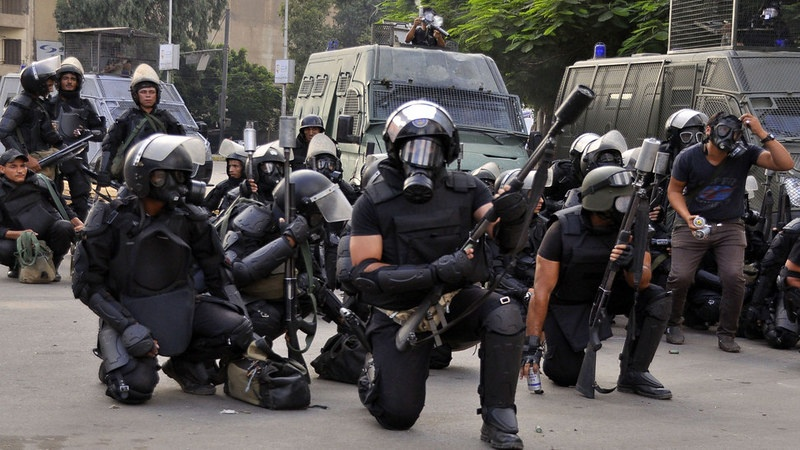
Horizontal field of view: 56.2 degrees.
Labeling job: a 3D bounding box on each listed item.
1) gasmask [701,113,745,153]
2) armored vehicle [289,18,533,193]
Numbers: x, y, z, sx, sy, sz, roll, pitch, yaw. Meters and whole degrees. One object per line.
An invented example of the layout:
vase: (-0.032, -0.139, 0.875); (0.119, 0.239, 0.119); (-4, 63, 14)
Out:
gasmask: (4.196, -1.177, 9.741); (0.457, 0.562, 0.371); (-1, 1, -32)
armored vehicle: (0.007, -2.026, 16.853); (4.138, 3.672, 6.518); (-1, 11, -22)
